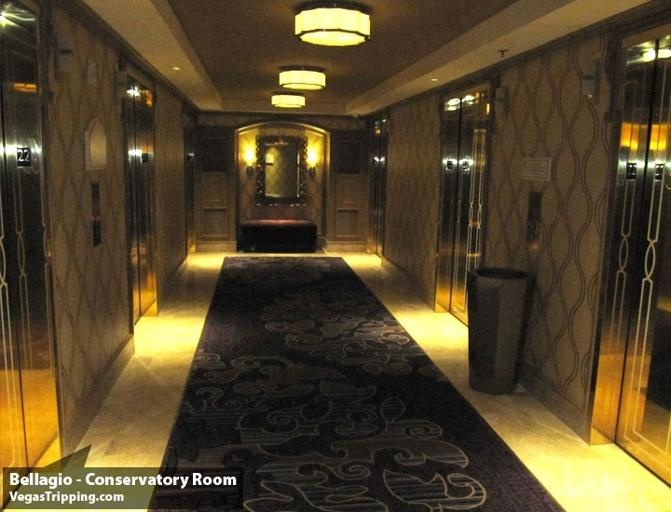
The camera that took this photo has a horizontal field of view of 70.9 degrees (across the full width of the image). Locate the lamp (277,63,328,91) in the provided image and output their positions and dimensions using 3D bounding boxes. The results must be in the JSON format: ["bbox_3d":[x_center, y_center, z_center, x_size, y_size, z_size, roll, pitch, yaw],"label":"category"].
[{"bbox_3d":[-0.485,-2.640,6.974,0.701,0.238,0.574,0,12,-6],"label":"lamp"}]

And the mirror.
[{"bbox_3d":[-1.363,-2.146,11.468,1.771,2.196,0.120,0,12,-6],"label":"mirror"}]
